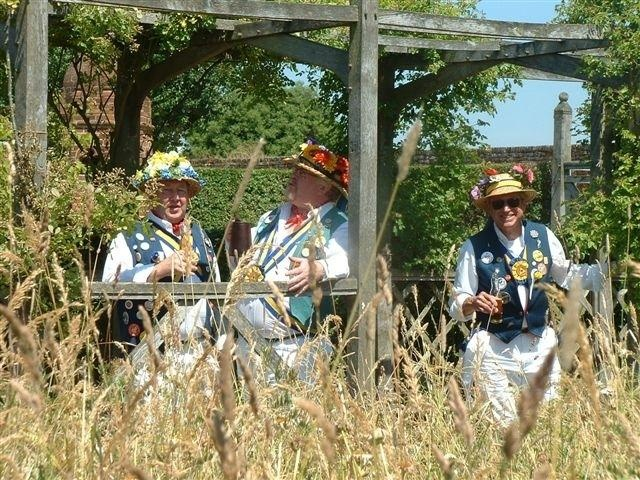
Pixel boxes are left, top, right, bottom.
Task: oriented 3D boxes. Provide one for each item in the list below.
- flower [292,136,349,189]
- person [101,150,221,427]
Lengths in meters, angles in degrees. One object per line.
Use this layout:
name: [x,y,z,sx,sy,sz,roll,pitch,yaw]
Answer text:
flower: [0.029,-0.537,7.890,0.363,0.114,0.322,26,1,-10]
person: [-1.011,0.176,7.139,0.773,1.469,2.410,4,4,-7]
